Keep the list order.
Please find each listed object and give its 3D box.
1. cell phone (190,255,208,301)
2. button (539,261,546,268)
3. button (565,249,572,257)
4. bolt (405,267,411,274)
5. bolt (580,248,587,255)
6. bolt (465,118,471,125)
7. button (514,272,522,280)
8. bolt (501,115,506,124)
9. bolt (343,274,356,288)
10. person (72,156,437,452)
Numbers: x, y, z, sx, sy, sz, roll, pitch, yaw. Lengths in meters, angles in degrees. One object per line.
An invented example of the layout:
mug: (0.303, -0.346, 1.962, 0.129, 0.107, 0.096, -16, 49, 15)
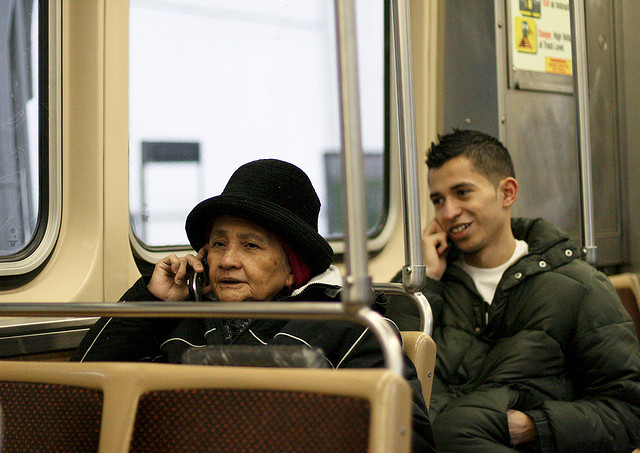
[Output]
cell phone: (-0.477, 0.204, 3.257, 0.040, 0.148, 0.108, 18, -45, -18)
button: (0.955, 0.158, 3.533, 0.021, 0.023, 0.008, -2, -8, 1)
button: (1.073, 0.111, 3.553, 0.023, 0.024, 0.005, 2, -17, 3)
bolt: (0.335, 0.164, 3.156, 0.017, 0.034, 0.032, -6, 7, -41)
bolt: (1.153, 0.106, 3.602, 0.025, 0.026, 0.026, 1, -8, 2)
bolt: (0.739, -0.529, 4.128, 0.032, 0.028, 0.008, -3, 5, -11)
button: (0.842, 0.208, 3.534, 0.026, 0.028, 0.009, 3, -18, 26)
bolt: (0.935, -0.546, 4.200, 0.036, 0.044, 0.003, -6, 6, -37)
bolt: (0.081, 0.151, 2.340, 0.033, 0.036, 0.035, 0, -11, -2)
person: (-0.238, 0.250, 3.159, 1.377, 1.014, 0.446, -1, 5, 15)
